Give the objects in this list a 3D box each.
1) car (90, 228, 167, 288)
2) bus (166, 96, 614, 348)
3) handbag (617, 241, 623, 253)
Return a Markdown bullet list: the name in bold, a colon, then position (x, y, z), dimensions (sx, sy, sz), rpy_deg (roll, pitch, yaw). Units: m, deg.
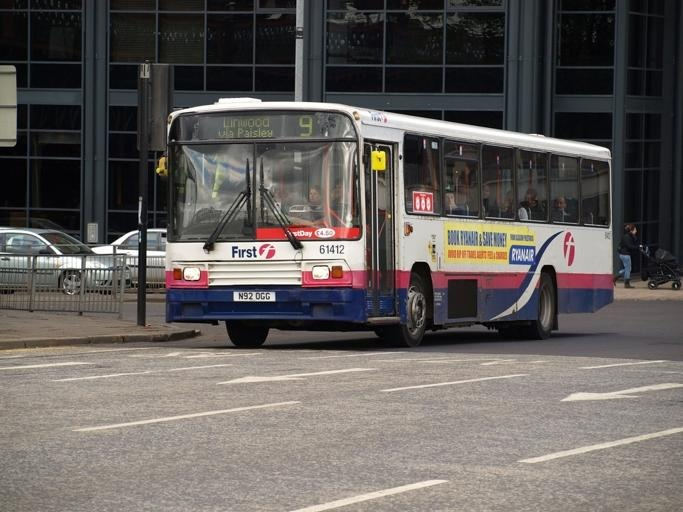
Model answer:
- **car**: position (-5.227, 0.096, 25.313), dimensions (1.416, 1.682, 1.499), rpy_deg (-5, 8, -40)
- **bus**: position (1.635, -0.491, 19.102), dimensions (3.495, 4.037, 10.649), rpy_deg (-9, -2, 40)
- **handbag**: position (10.043, -0.262, 36.629), dimensions (0.116, 0.394, 0.238), rpy_deg (-8, -1, 21)
